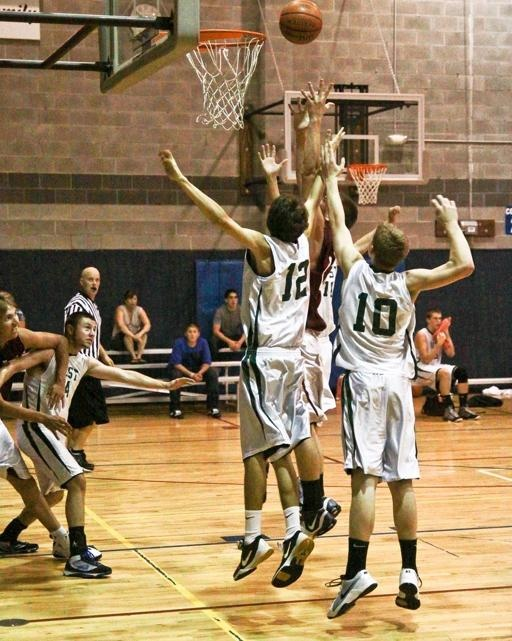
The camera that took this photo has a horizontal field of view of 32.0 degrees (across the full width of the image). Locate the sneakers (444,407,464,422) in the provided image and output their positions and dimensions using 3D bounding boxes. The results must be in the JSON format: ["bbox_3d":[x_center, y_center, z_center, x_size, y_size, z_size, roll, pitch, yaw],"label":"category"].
[{"bbox_3d":[2.139,1.018,9.656,0.094,0.131,0.267,-1,-9,-13],"label":"sneakers"}]

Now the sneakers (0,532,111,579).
[{"bbox_3d":[-0.974,1.143,4.312,0.515,0.255,0.162,5,-3,18],"label":"sneakers"}]

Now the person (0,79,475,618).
[{"bbox_3d":[0.345,0.174,3.773,1.037,2.042,0.677,0,-1,34],"label":"person"}]

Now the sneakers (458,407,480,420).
[{"bbox_3d":[2.323,1.012,9.822,0.103,0.150,0.305,2,1,-28],"label":"sneakers"}]

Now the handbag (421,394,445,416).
[{"bbox_3d":[2.013,0.956,10.089,0.175,0.260,0.248,1,-7,1],"label":"handbag"}]
